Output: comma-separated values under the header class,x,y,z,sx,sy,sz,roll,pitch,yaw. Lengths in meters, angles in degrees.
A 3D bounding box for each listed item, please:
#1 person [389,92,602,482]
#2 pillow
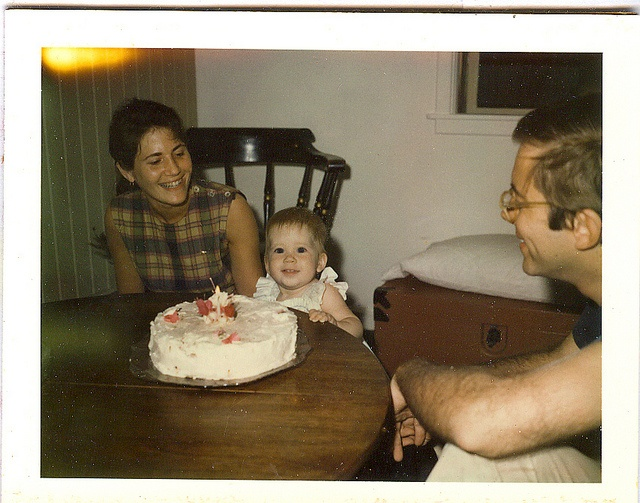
class,x,y,z,sx,sy,sz,roll,pitch,yaw
person,0.639,0.140,1.677,0.641,0.961,0.252,0,-9,22
pillow,0.471,0.057,1.628,0.265,0.086,0.256,8,14,30
